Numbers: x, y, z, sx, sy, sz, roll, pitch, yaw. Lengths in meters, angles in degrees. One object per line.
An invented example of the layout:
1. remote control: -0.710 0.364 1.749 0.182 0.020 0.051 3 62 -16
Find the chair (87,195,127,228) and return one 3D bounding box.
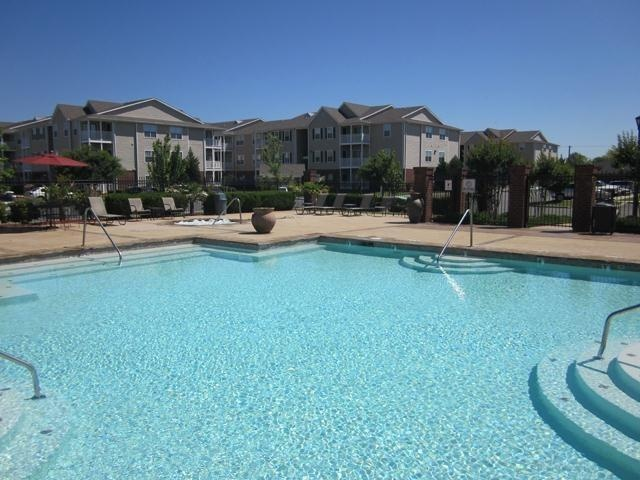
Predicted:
1. chair: -9.572 -1.338 20.474 2.648 1.365 1.325 11 13 35

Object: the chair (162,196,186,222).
1. chair: -8.111 -1.893 24.905 1.259 1.067 0.932 5 8 37

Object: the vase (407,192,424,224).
1. vase: 4.748 -1.606 21.831 0.768 1.447 0.663 -1 9 -2

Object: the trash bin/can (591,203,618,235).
1. trash bin/can: 10.502 -0.793 16.273 1.053 1.504 1.072 0 3 28

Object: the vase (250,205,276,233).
1. vase: -1.985 -0.764 17.004 0.972 1.033 0.918 1 0 -5

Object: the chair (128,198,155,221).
1. chair: -9.181 -1.669 23.235 1.164 1.160 0.952 8 10 39

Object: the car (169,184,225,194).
1. car: -7.363 -3.206 27.038 1.978 0.628 1.613 0 2 8
